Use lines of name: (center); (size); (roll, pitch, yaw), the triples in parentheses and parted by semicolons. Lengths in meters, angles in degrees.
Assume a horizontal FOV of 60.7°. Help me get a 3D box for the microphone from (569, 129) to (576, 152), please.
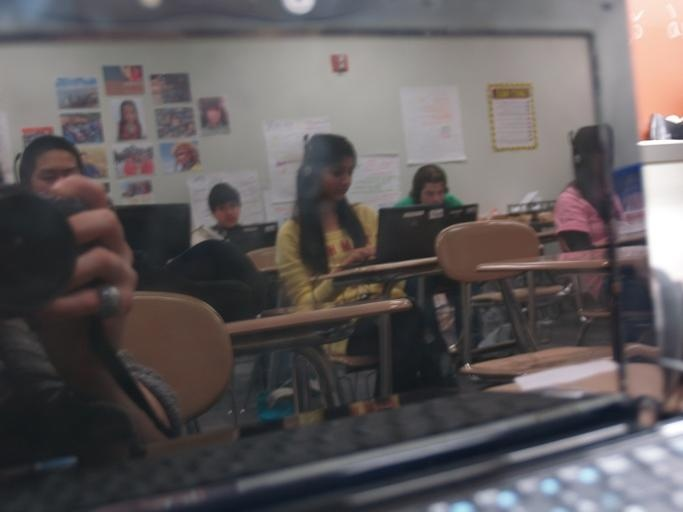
microphone: (0.348, -0.178, 0.879); (0.008, 0.024, 0.017); (3, 1, 7)
